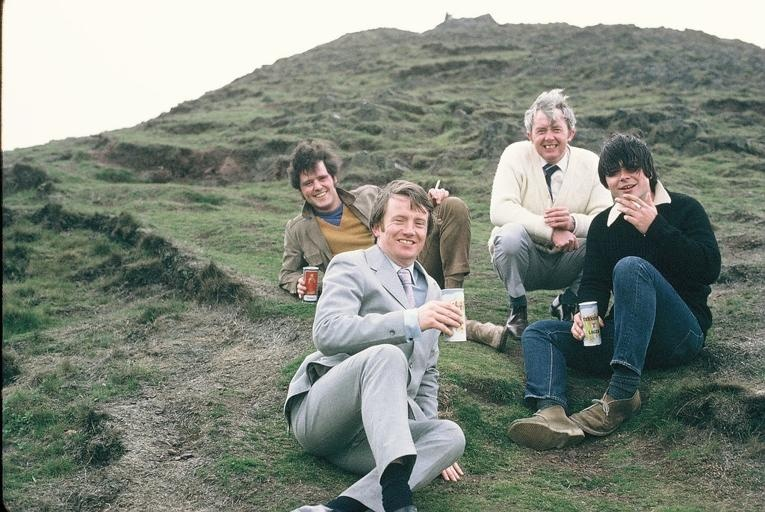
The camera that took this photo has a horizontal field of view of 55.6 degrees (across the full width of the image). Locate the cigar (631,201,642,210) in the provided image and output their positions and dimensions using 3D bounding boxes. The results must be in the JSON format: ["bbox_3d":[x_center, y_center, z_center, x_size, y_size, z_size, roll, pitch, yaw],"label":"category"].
[{"bbox_3d":[2.548,-0.521,7.268,0.062,0.094,0.056,-3,-5,40],"label":"cigar"}]

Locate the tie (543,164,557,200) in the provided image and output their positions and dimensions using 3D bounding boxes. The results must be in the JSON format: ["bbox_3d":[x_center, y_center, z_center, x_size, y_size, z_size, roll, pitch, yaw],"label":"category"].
[{"bbox_3d":[1.948,-0.905,8.653,0.272,0.353,0.084,-5,12,-32],"label":"tie"}]

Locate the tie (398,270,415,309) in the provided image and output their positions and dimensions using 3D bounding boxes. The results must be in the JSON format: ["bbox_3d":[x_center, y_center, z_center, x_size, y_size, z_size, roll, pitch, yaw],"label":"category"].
[{"bbox_3d":[0.224,0.292,6.644,0.193,0.310,0.073,-3,-9,-37],"label":"tie"}]
